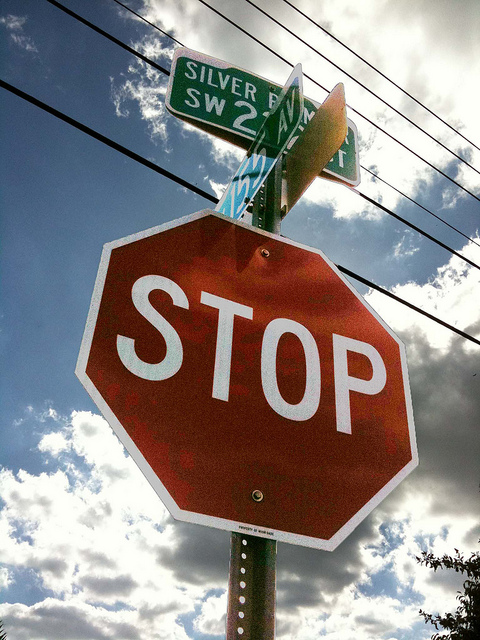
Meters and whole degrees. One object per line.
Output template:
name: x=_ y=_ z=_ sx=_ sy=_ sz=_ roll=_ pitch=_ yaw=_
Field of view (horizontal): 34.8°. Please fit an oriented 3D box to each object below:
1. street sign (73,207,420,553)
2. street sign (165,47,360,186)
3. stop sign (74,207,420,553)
street sign: x=0.053 y=0.132 z=2.435 sx=1.130 sy=1.157 sz=0.049 roll=15 pitch=-38 yaw=-14
street sign: x=0.128 y=-0.952 z=3.583 sx=0.984 sy=0.571 sz=0.058 roll=19 pitch=-42 yaw=-12
stop sign: x=0.013 y=0.202 z=2.312 sx=0.854 sy=0.895 sz=0.067 roll=22 pitch=-46 yaw=-25
